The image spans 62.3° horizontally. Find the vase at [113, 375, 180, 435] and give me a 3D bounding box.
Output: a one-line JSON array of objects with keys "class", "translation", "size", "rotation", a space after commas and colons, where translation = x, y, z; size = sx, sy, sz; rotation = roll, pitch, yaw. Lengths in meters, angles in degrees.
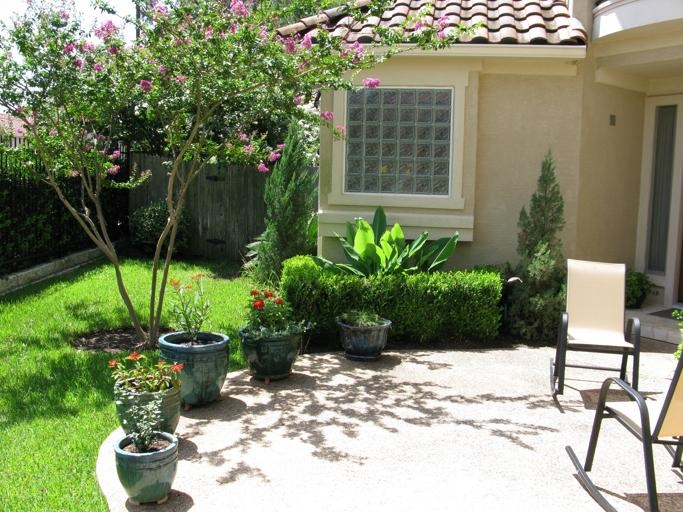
[{"class": "vase", "translation": [-1.739, 1.402, 5.094], "size": [0.668, 0.613, 0.728], "rotation": [0, -4, -14]}]

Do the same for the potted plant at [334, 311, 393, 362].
[{"class": "potted plant", "translation": [0.297, 1.057, 7.482], "size": [0.719, 0.549, 0.747], "rotation": [7, 9, 41]}]

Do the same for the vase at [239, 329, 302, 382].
[{"class": "vase", "translation": [-0.848, 1.037, 6.483], "size": [0.544, 0.439, 0.589], "rotation": [1, 0, 25]}]

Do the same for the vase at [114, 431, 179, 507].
[{"class": "vase", "translation": [-1.482, 1.567, 4.389], "size": [0.434, 0.467, 0.498], "rotation": [0, 1, 1]}]

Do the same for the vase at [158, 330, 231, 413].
[{"class": "vase", "translation": [-1.526, 1.159, 6.001], "size": [0.726, 0.791, 0.769], "rotation": [9, 9, 28]}]

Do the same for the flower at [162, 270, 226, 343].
[{"class": "flower", "translation": [-2.061, 0.701, 7.827], "size": [0.746, 1.389, 0.781], "rotation": [-3, 2, -38]}]

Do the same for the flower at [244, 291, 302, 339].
[{"class": "flower", "translation": [-0.857, 0.707, 6.698], "size": [0.506, 0.431, 0.436], "rotation": [-4, -19, 0]}]
